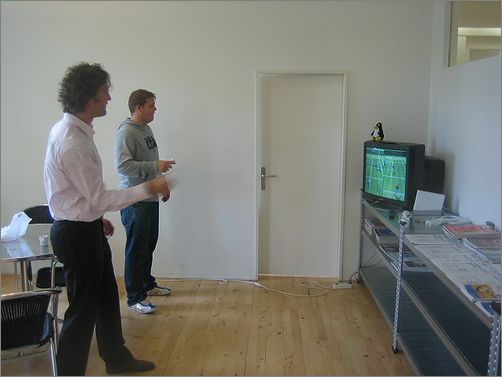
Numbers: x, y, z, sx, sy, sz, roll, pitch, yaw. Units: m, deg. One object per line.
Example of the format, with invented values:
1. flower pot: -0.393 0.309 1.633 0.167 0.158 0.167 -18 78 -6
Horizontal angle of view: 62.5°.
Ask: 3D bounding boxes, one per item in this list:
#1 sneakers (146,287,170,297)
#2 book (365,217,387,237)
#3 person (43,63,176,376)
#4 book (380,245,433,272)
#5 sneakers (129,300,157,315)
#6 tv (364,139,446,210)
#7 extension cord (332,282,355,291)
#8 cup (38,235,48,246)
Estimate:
1. sneakers: -0.947 1.058 4.238 0.225 0.101 0.092 -1 5 -2
2. book: 1.212 0.368 3.966 0.166 0.077 0.240 2 10 6
3. person: -1.056 0.299 2.846 0.660 2.294 0.427 -5 9 -17
4. book: 1.266 0.578 3.354 0.239 0.066 0.270 4 14 -9
5. sneakers: -1.023 1.127 3.905 0.230 0.110 0.113 3 8 11
6. tv: 1.440 -0.163 3.932 0.608 0.665 0.640 -3 7 -19
7. extension cord: 0.975 1.018 4.359 0.218 0.047 0.176 0 9 9
8. cup: -1.624 0.393 3.220 0.062 0.082 0.084 -1 -8 4
